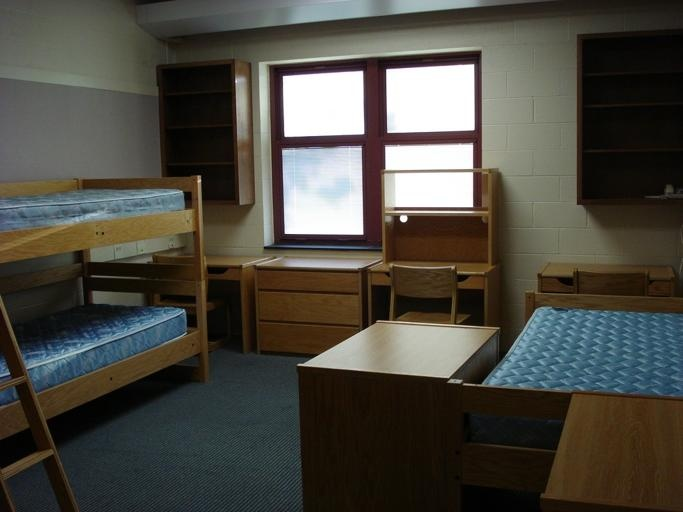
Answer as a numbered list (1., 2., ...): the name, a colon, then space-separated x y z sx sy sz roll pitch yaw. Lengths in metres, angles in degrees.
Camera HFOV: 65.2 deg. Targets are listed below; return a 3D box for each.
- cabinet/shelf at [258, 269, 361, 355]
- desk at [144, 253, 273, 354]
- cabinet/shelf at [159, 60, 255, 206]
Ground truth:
1. cabinet/shelf: -0.190 0.489 4.841 1.012 0.818 0.561 1 5 18
2. desk: -0.983 0.357 5.398 1.116 0.896 0.659 3 21 43
3. cabinet/shelf: -1.347 -1.357 5.142 0.650 0.991 0.261 -2 -4 -7
